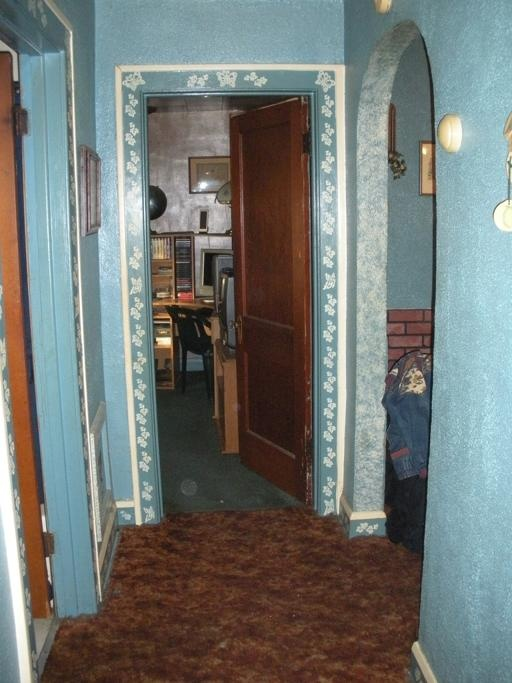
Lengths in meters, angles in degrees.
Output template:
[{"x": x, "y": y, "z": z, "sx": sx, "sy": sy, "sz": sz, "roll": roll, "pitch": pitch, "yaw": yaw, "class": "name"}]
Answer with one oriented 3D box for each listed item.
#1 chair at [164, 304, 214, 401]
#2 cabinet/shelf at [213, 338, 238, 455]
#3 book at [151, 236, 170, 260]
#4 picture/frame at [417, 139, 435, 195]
[{"x": -0.619, "y": 0.131, "z": 5.407, "sx": 0.354, "sy": 0.738, "sz": 0.493, "roll": -10, "pitch": -14, "yaw": -14, "class": "chair"}, {"x": -0.209, "y": 0.380, "z": 4.045, "sx": 0.236, "sy": 0.680, "sz": 0.674, "roll": 0, "pitch": 5, "yaw": -3, "class": "cabinet/shelf"}, {"x": -0.980, "y": -0.969, "z": 6.084, "sx": 0.185, "sy": 0.284, "sz": 0.272, "roll": -1, "pitch": 19, "yaw": -2, "class": "book"}, {"x": 0.950, "y": -0.970, "z": 3.260, "sx": 0.079, "sy": 0.293, "sz": 0.051, "roll": 1, "pitch": 8, "yaw": 16, "class": "picture/frame"}]
